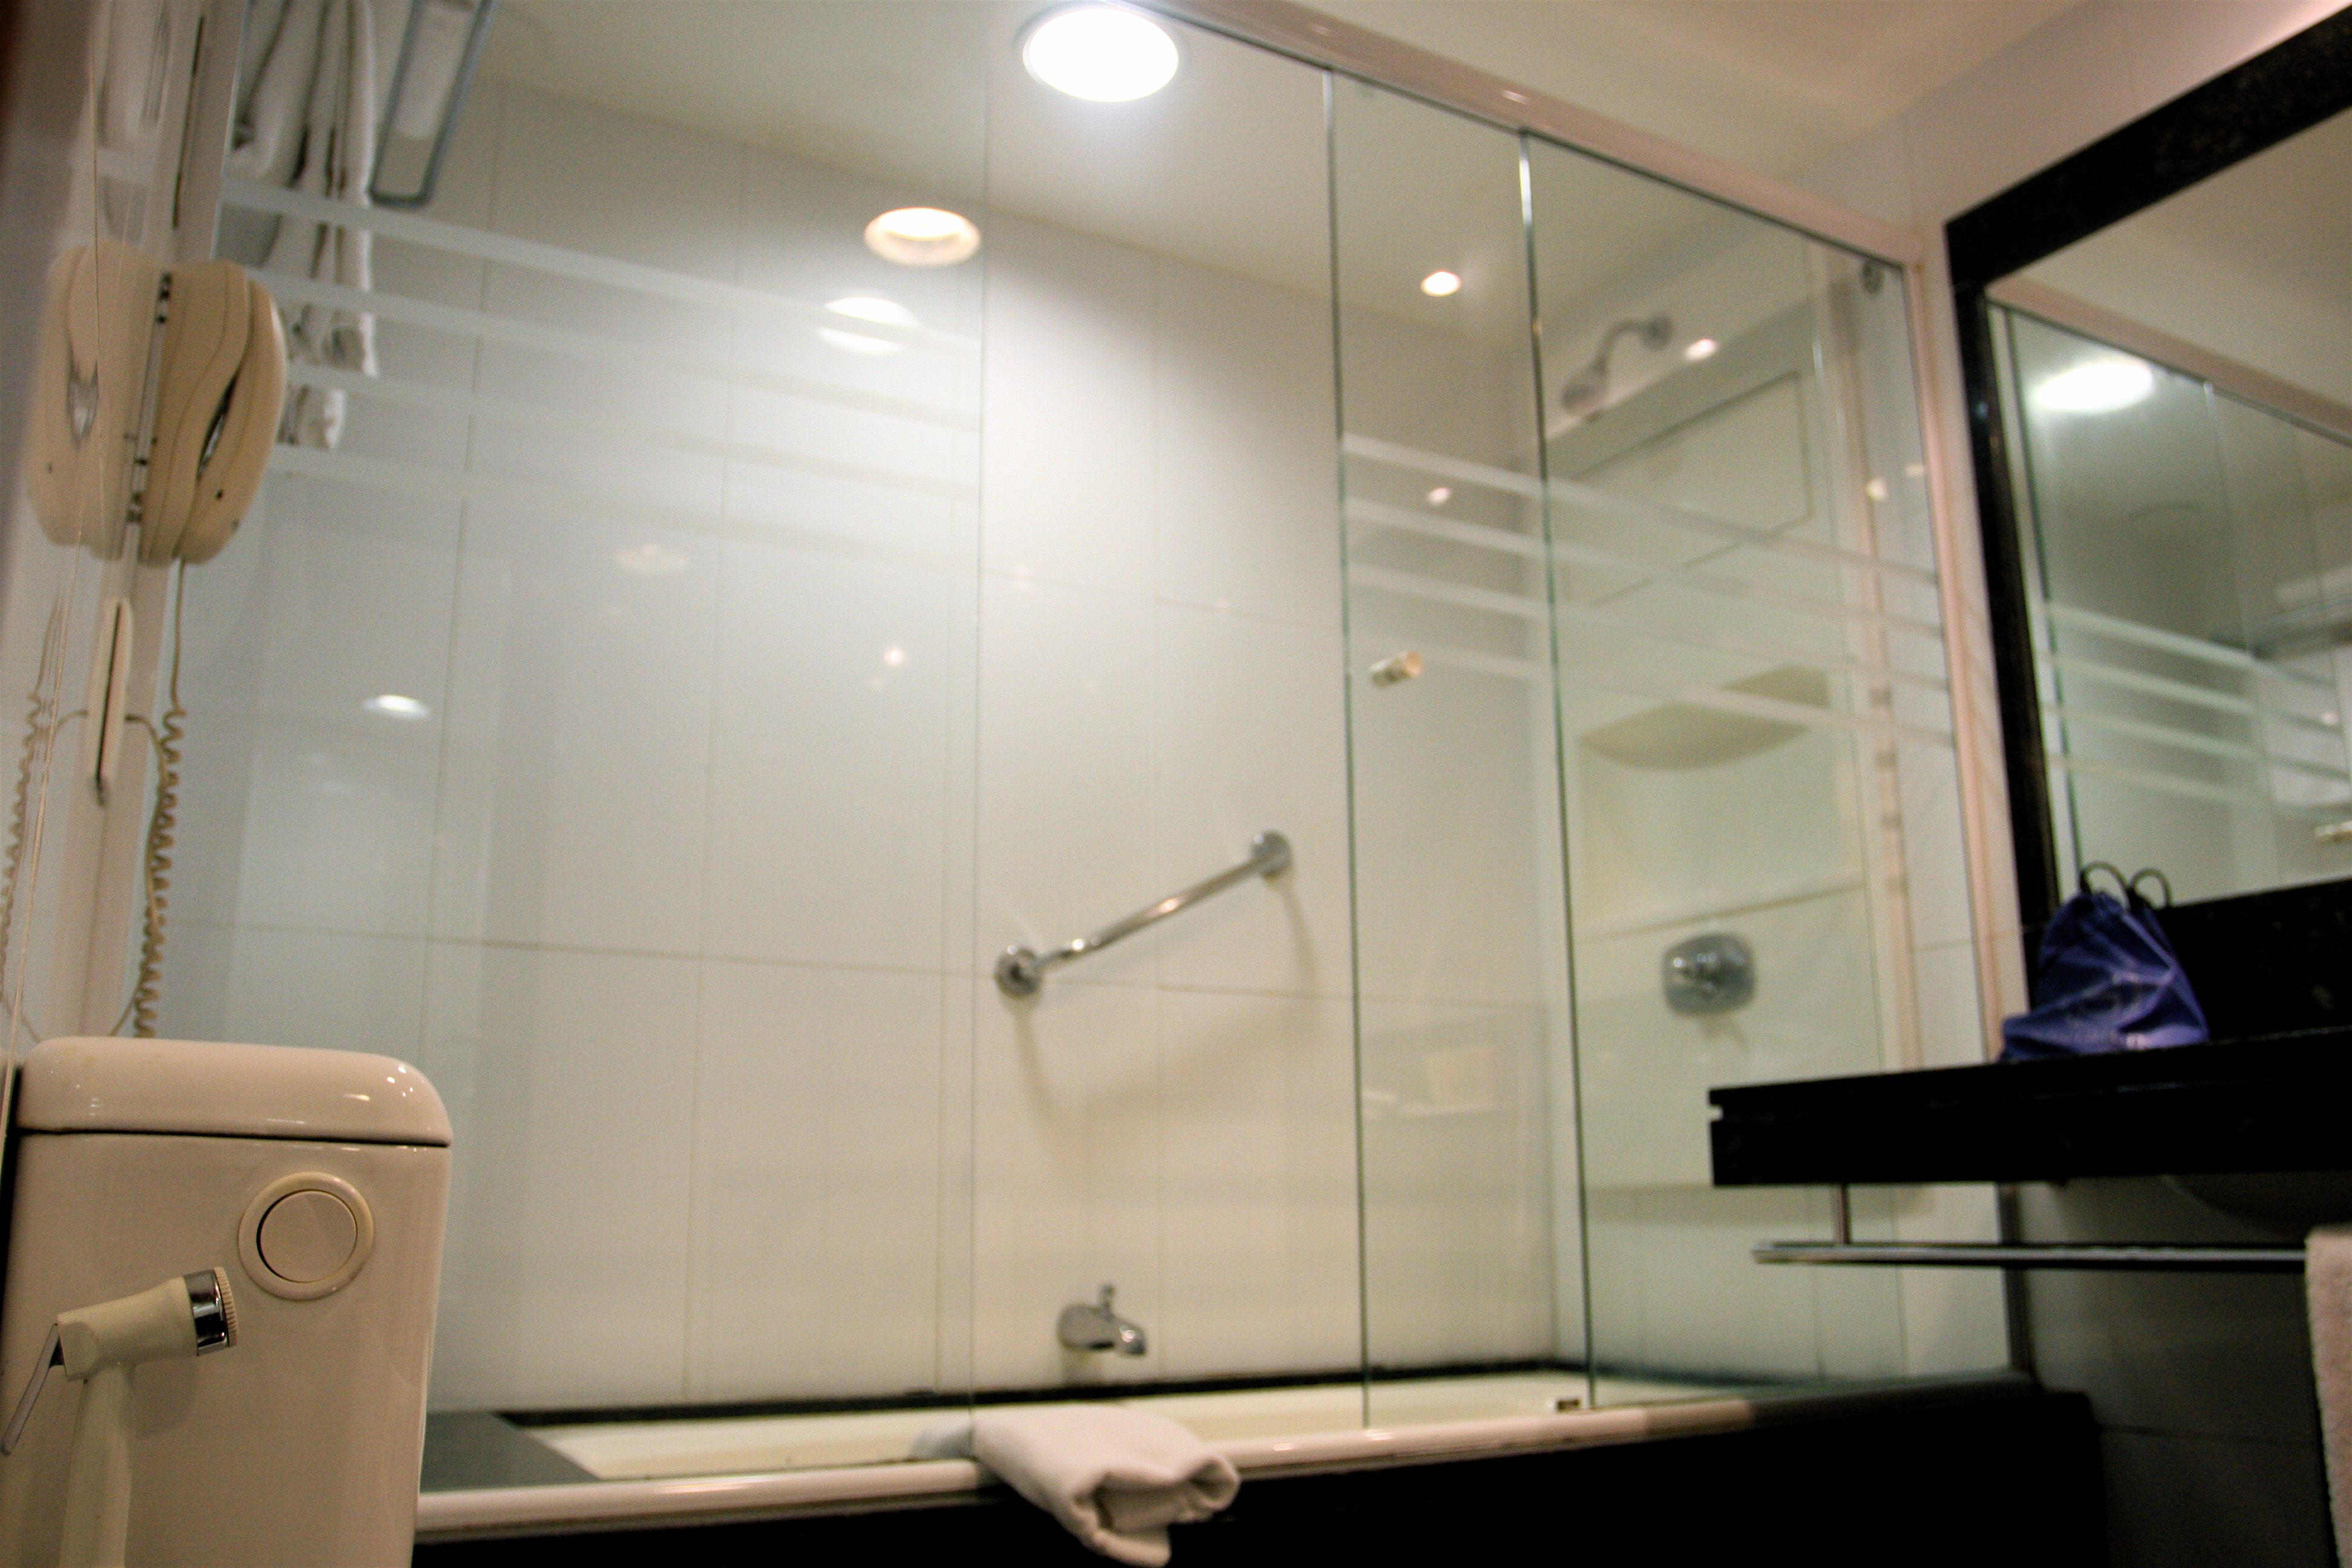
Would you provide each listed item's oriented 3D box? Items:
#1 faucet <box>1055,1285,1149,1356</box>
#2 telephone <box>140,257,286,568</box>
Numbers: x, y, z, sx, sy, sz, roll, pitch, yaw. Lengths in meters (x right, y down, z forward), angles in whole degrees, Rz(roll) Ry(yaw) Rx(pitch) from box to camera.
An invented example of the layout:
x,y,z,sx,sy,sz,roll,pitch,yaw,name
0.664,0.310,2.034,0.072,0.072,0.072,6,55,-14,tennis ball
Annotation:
x,y,z,sx,sy,sz,roll,pitch,yaw,name
-0.101,0.750,2.462,0.116,0.083,0.081,2,-8,-9,faucet
-1.046,-0.401,1.929,0.204,0.285,0.070,10,3,-3,telephone
